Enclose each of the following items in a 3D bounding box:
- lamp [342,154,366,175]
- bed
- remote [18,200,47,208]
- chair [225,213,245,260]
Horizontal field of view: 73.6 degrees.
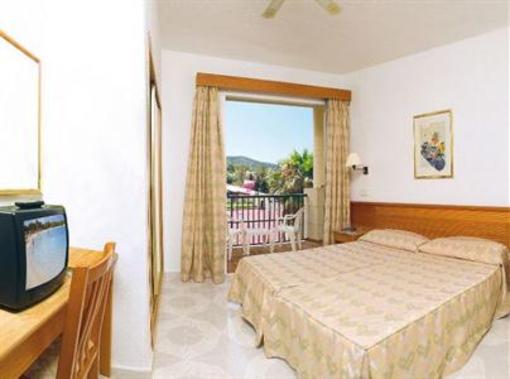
[{"bbox_3d":[1.450,-0.384,5.047,0.322,0.339,0.290,-1,3,-8],"label":"lamp"},{"bbox_3d":[1.383,0.656,3.799,1.653,0.955,1.731,-1,0,-35],"label":"bed"},{"bbox_3d":[-1.256,0.087,1.927,0.098,0.037,0.087,3,-4,-38],"label":"remote"},{"bbox_3d":[-0.293,0.653,5.408,0.402,0.578,0.410,2,-4,-23],"label":"chair"}]
